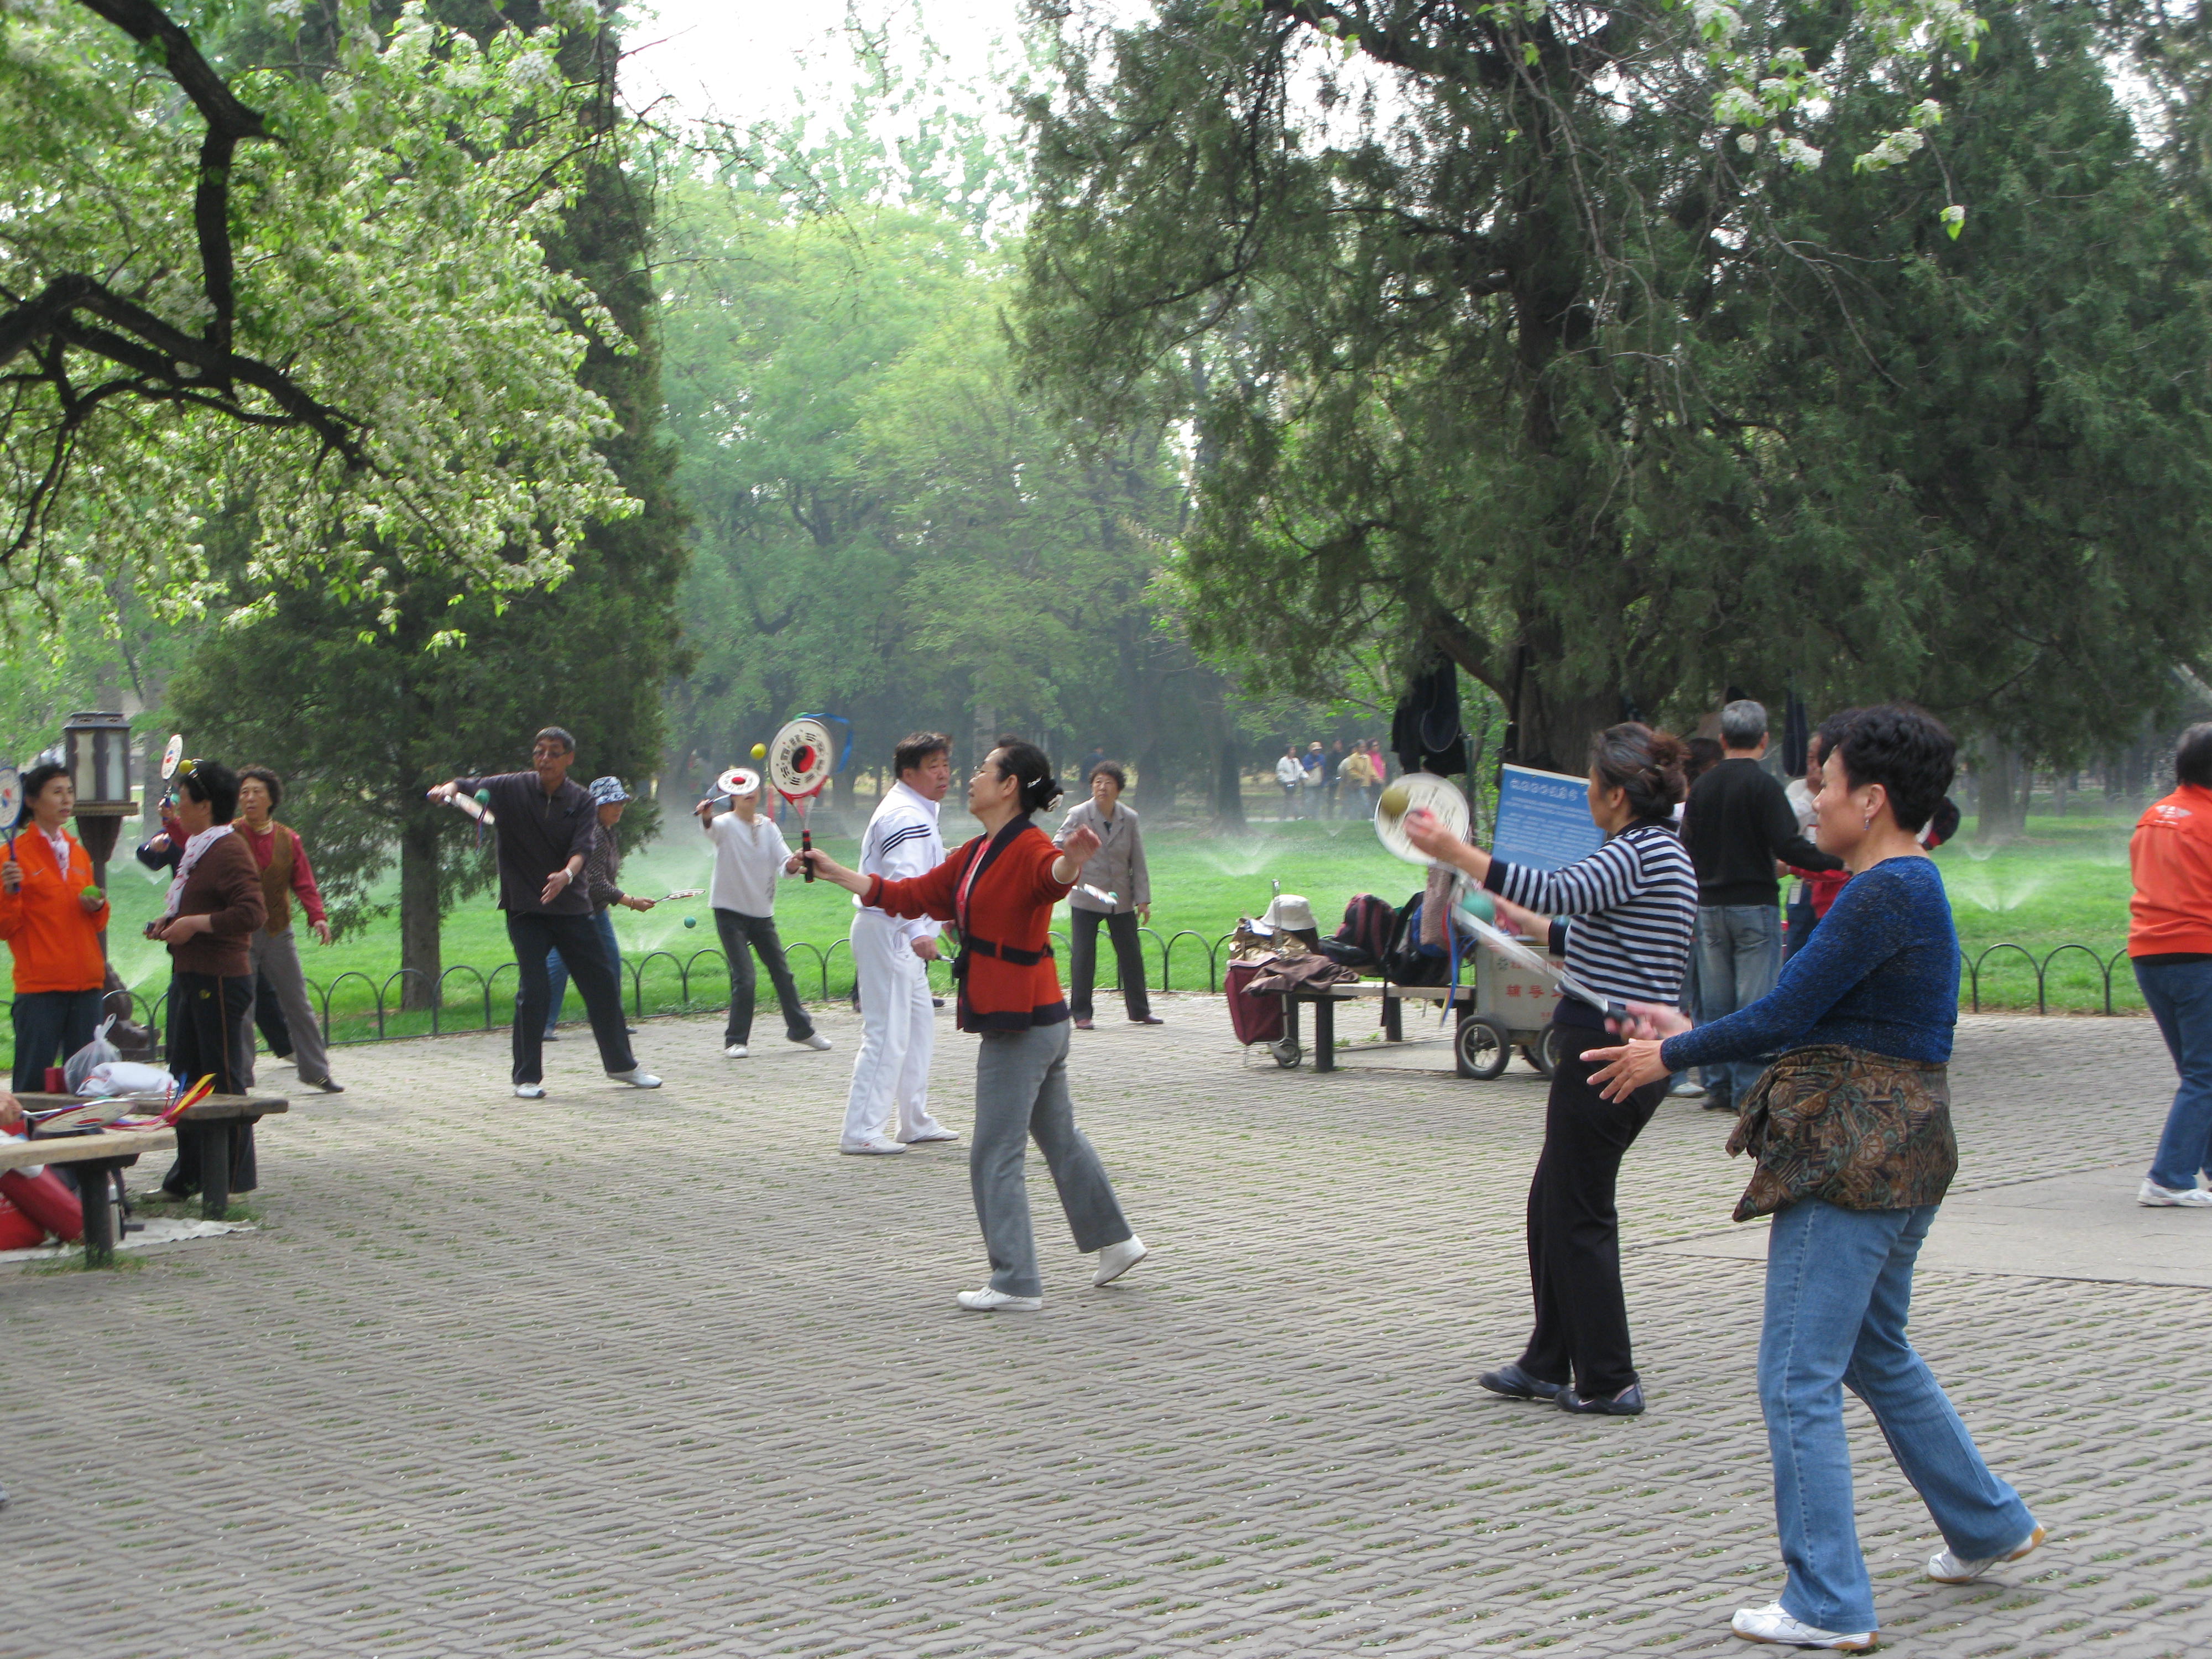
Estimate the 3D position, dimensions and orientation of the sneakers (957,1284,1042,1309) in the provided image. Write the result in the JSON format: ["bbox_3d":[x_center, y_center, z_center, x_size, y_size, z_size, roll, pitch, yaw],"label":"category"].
[{"bbox_3d":[-0.495,2.154,11.519,0.387,0.165,0.144,3,-8,6],"label":"sneakers"}]

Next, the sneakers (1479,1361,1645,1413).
[{"bbox_3d":[1.828,2.264,10.042,0.584,0.189,0.224,8,-6,31],"label":"sneakers"}]

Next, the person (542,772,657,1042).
[{"bbox_3d":[-3.722,0.564,18.528,0.809,1.969,0.532,-6,17,-43],"label":"person"}]

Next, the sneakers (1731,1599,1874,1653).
[{"bbox_3d":[2.246,2.587,8.059,0.442,0.206,0.166,6,-8,15],"label":"sneakers"}]

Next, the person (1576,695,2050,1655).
[{"bbox_3d":[2.468,1.109,8.198,1.050,3.017,0.578,-2,5,-13],"label":"person"}]

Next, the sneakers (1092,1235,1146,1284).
[{"bbox_3d":[0.032,2.083,11.925,0.132,0.167,0.364,-43,-2,-34],"label":"sneakers"}]

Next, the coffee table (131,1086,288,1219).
[{"bbox_3d":[-4.862,1.676,13.534,0.718,0.773,0.726,1,-1,-26],"label":"coffee table"}]

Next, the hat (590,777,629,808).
[{"bbox_3d":[-3.889,-0.310,19.463,0.348,0.179,0.357,1,1,27],"label":"hat"}]

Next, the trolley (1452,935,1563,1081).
[{"bbox_3d":[3.074,1.336,17.733,0.619,0.929,0.814,12,-4,6],"label":"trolley"}]

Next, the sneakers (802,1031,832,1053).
[{"bbox_3d":[-2.314,1.702,20.075,0.103,0.128,0.286,0,-2,-40],"label":"sneakers"}]

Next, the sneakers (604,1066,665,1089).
[{"bbox_3d":[-3.417,1.792,18.087,0.430,0.201,0.165,3,2,-1],"label":"sneakers"}]

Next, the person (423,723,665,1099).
[{"bbox_3d":[-3.865,0.590,17.538,0.994,2.609,0.840,-2,5,-15],"label":"person"}]
